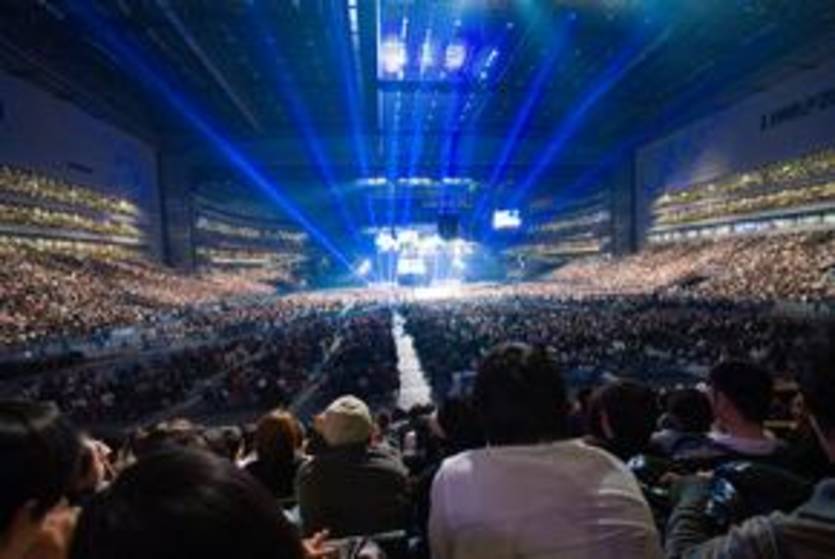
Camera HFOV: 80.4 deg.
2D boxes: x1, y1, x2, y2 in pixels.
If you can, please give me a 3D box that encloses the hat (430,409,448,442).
[{"bbox_3d":[0.655,4.715,15.924,0.637,0.804,0.848,4,-25,17],"label":"hat"}]
